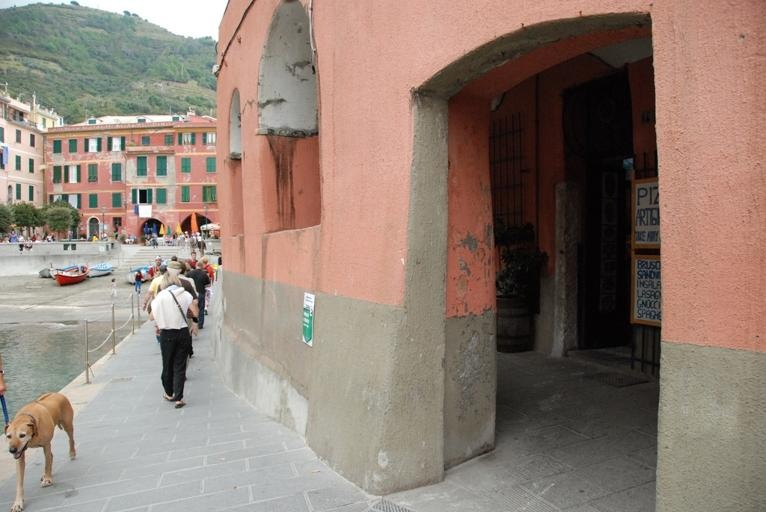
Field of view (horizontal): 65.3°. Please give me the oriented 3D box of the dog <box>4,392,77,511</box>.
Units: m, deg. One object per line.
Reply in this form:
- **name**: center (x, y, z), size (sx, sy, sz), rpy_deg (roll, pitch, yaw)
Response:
- **dog**: center (-3.698, 2.012, 6.435), size (0.472, 0.884, 1.222), rpy_deg (-5, 4, -1)

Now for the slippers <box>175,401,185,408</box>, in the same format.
- **slippers**: center (-2.960, 2.184, 8.846), size (0.160, 0.060, 0.156), rpy_deg (-7, 4, -26)

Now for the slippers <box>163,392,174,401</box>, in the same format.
- **slippers**: center (-3.243, 2.146, 9.158), size (0.091, 0.069, 0.230), rpy_deg (0, -1, -37)
